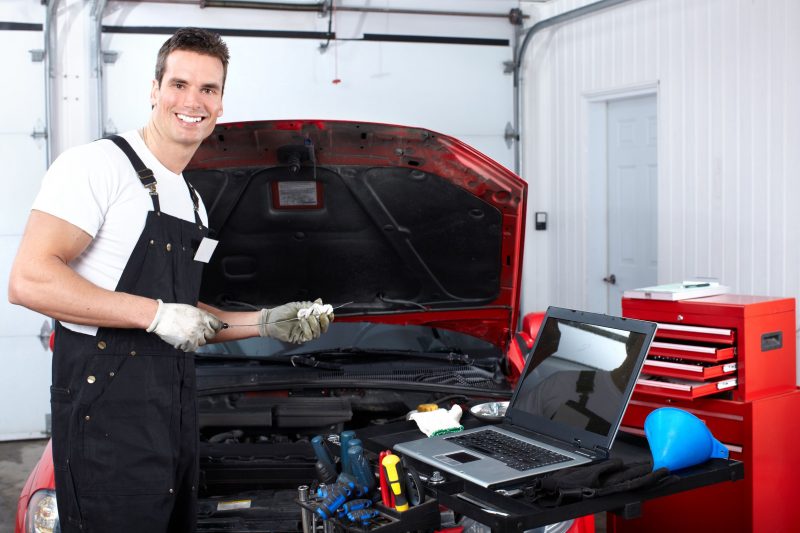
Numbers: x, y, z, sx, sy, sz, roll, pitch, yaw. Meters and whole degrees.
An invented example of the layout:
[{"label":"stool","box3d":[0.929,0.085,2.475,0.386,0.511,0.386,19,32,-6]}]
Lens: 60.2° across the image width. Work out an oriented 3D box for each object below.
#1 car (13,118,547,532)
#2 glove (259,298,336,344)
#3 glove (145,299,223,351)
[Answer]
[{"label":"car","box3d":[-0.484,0.278,3.390,2.615,2.373,1.392,0,-3,-5]},{"label":"glove","box3d":[-0.402,0.220,2.770,0.229,0.107,0.169,0,3,10]},{"label":"glove","box3d":[-0.765,0.211,2.443,0.224,0.157,0.061,20,-29,-8]}]
